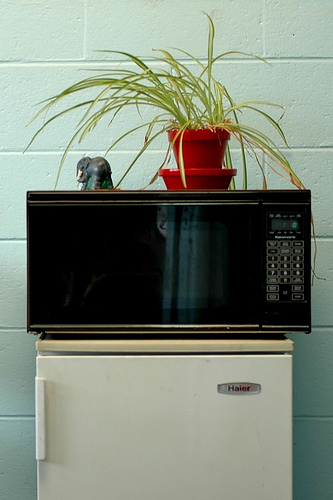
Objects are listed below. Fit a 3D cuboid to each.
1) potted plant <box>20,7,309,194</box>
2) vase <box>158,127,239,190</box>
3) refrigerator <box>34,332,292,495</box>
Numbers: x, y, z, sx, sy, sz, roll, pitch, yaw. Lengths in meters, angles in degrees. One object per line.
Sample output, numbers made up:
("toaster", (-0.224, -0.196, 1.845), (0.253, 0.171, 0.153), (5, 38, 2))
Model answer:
("potted plant", (-0.015, -0.254, 1.231), (0.647, 0.360, 0.493), (0, 4, 17))
("vase", (0.063, -0.179, 1.067), (0.136, 0.100, 0.133), (-7, 14, -1))
("refrigerator", (-0.009, 0.202, 0.914), (0.470, 0.324, 0.277), (0, -3, -1))
